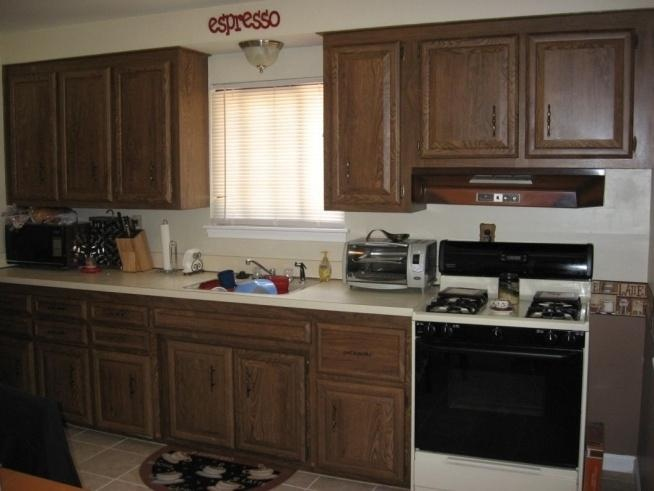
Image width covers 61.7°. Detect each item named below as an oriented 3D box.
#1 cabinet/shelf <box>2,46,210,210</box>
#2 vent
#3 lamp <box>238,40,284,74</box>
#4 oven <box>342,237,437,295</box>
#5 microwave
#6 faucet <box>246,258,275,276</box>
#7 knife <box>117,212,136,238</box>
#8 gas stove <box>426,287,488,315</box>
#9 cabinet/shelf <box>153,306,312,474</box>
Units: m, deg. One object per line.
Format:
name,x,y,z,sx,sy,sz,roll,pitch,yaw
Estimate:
cabinet/shelf,-1.599,-0.912,4.151,1.344,0.947,0.510,1,3,18
vent,1.113,-0.362,3.424,1.108,0.272,0.264,1,7,19
lamp,-0.442,-1.304,3.852,0.212,0.127,0.195,1,3,5
oven,0.382,0.121,3.621,0.532,0.308,0.325,2,4,8
microwave,-2.231,-0.005,4.350,0.575,0.337,0.378,3,3,18
faucet,-0.491,0.151,4.092,0.202,0.131,0.321,-3,7,-9
knife,-1.597,-0.170,4.410,0.142,0.193,0.263,-4,7,-18
gas stove,0.779,0.321,3.246,0.334,0.071,0.462,1,7,17
cabinet/shelf,-0.564,0.923,3.544,1.090,0.908,0.414,1,3,17
